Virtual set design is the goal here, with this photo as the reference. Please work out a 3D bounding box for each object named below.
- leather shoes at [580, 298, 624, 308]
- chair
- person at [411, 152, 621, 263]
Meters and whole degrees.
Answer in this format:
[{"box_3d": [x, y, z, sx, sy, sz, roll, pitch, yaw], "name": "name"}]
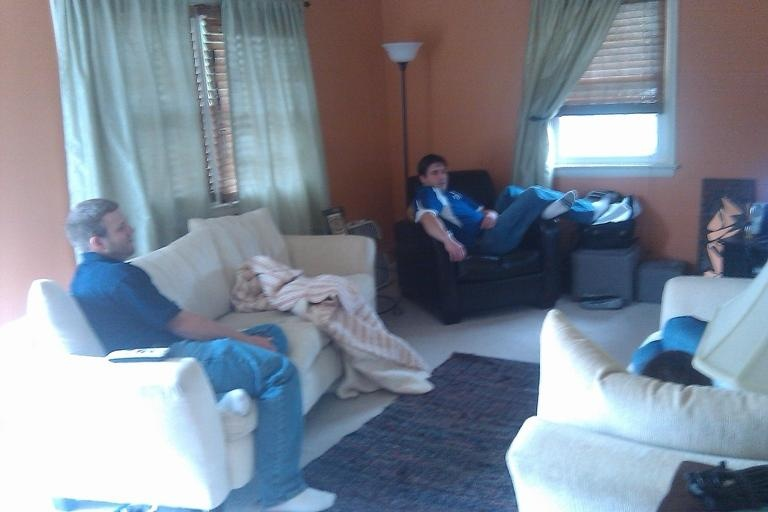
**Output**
[{"box_3d": [1.595, 0.350, 4.550, 0.223, 0.066, 0.121, 2, 7, 7], "name": "leather shoes"}, {"box_3d": [0.936, 0.039, 4.710, 0.959, 0.812, 0.887, -6, -8, 12], "name": "chair"}, {"box_3d": [0.907, -0.467, 4.561, 1.375, 0.749, 0.684, -14, 7, 18], "name": "person"}]
